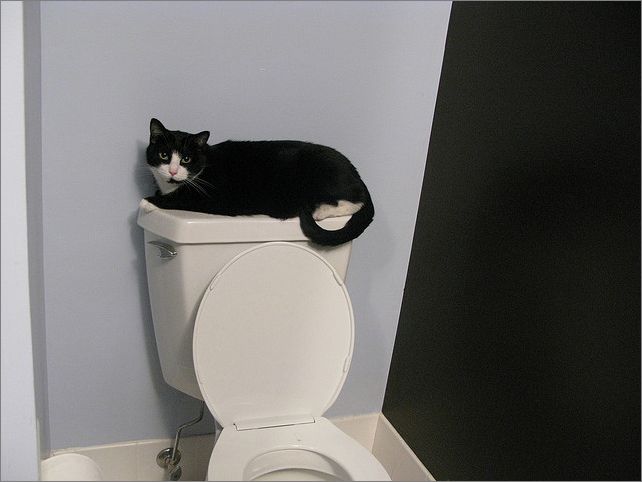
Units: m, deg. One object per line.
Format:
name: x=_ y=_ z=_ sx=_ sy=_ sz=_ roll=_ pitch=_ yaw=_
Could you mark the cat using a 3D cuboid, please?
cat: x=-0.176 y=-0.166 z=1.851 sx=0.526 sy=0.275 sz=0.376 roll=2 pitch=26 yaw=-19
